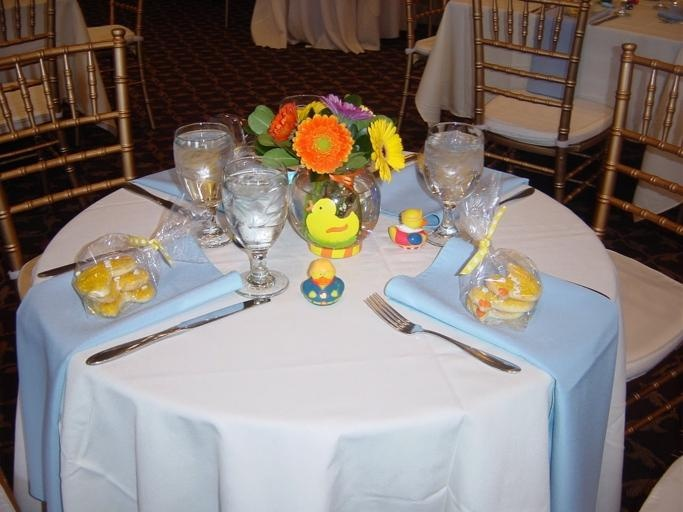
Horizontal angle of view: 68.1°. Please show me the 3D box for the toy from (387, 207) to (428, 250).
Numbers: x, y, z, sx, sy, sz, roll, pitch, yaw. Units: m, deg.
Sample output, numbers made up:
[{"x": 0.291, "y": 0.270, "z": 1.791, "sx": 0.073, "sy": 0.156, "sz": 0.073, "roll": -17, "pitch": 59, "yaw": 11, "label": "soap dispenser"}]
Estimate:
[{"x": 0.148, "y": -0.068, "z": 1.190, "sx": 0.090, "sy": 0.089, "sz": 0.090, "roll": -5, "pitch": 24, "yaw": -24, "label": "toy"}]

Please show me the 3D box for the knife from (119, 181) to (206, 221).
[{"x": -0.450, "y": -0.133, "z": 1.273, "sx": 0.281, "sy": 0.023, "sz": 0.033, "roll": 23, "pitch": 60, "yaw": 28, "label": "knife"}]

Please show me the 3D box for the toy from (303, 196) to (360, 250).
[{"x": -0.027, "y": -0.074, "z": 1.131, "sx": 0.115, "sy": 0.117, "sz": 0.082, "roll": 3, "pitch": 22, "yaw": -6, "label": "toy"}]

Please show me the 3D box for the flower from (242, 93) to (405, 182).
[{"x": -0.038, "y": -0.247, "z": 1.023, "sx": 0.251, "sy": 0.107, "sz": 0.239, "roll": 16, "pitch": 44, "yaw": -12, "label": "flower"}]

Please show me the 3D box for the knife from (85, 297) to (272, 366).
[{"x": -0.306, "y": 0.144, "z": 0.919, "sx": 0.272, "sy": 0.014, "sz": 0.029, "roll": -21, "pitch": 55, "yaw": -32, "label": "knife"}]

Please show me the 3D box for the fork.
[{"x": 0.188, "y": 0.148, "z": 0.915, "sx": 0.241, "sy": 0.029, "sz": 0.034, "roll": 25, "pitch": 63, "yaw": 19, "label": "fork"}]

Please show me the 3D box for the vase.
[{"x": -0.020, "y": -0.090, "z": 1.157, "sx": 0.189, "sy": 0.170, "sz": 0.197, "roll": -2, "pitch": 29, "yaw": 2, "label": "vase"}]

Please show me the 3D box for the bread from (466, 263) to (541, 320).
[{"x": 0.299, "y": 0.081, "z": 0.945, "sx": 0.113, "sy": 0.042, "sz": 0.100, "roll": -40, "pitch": 52, "yaw": -11, "label": "bread"}]

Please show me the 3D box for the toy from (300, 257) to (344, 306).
[{"x": -0.038, "y": 0.058, "z": 0.992, "sx": 0.085, "sy": 0.076, "sz": 0.084, "roll": -1, "pitch": 26, "yaw": -10, "label": "toy"}]
